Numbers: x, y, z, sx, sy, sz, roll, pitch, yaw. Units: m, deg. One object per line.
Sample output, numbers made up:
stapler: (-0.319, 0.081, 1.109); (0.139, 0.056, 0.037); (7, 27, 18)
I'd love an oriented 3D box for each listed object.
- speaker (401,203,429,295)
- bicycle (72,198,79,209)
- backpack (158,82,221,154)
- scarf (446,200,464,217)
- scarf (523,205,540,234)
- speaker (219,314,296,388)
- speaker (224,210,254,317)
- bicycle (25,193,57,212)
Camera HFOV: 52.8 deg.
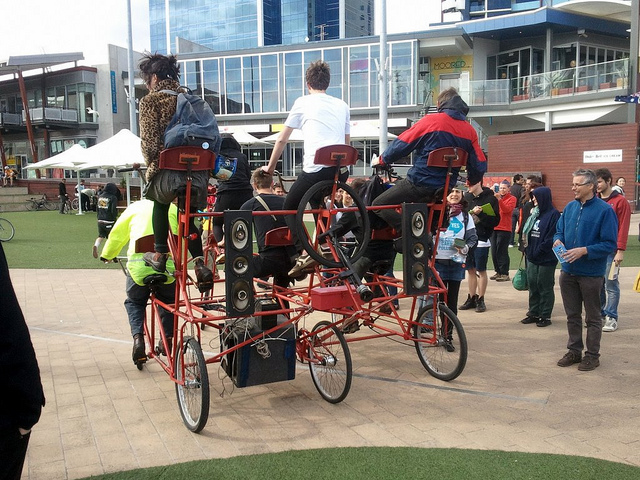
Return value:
speaker: (1.029, 0.102, 6.917); (0.290, 0.945, 0.261); (3, 10, 19)
bicycle: (-12.876, -1.843, 33.881); (0.194, 0.525, 0.547); (-4, -3, 25)
backpack: (-1.318, -1.219, 6.521); (0.525, 0.769, 0.450); (6, -14, -42)
scarf: (1.912, -0.413, 9.018); (0.232, 0.279, 0.137); (6, 41, 6)
scarf: (3.118, -0.289, 9.429); (0.197, 0.428, 0.385); (2, 12, 12)
speaker: (-0.675, 1.166, 6.971); (0.762, 0.522, 0.762); (-5, 12, -29)
speaker: (-0.792, 0.246, 6.261); (0.314, 1.027, 0.182); (-6, 9, -36)
bicycle: (-15.269, -1.902, 35.237); (1.576, 0.935, 0.791); (-20, 5, -43)
